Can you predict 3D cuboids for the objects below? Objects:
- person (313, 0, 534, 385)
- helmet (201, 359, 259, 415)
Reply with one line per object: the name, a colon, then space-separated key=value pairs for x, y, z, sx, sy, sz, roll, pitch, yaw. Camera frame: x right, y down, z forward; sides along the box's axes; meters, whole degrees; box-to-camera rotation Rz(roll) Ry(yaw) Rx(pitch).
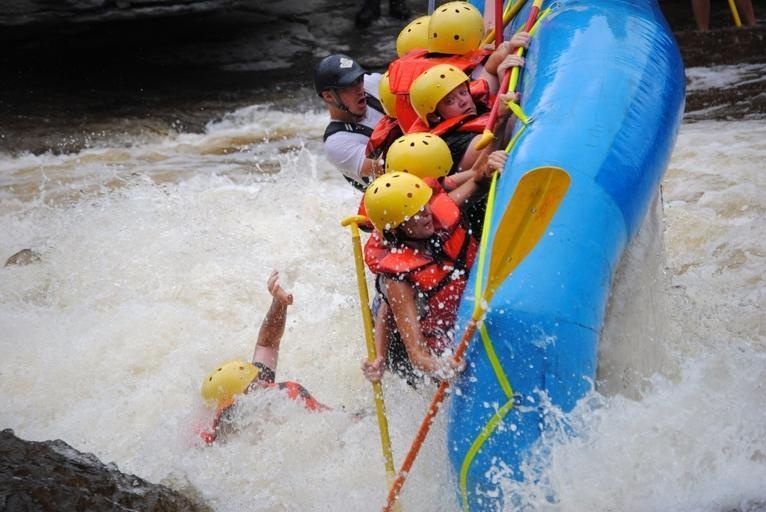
person: x=0.428 y=-0.357 z=7.037 sx=0.589 sy=2.599 sz=1.387 roll=11 pitch=-5 yaw=-29
helmet: x=-1.195 y=0.984 z=7.641 sx=0.425 sy=0.166 sz=0.307 roll=-36 pitch=24 yaw=8
